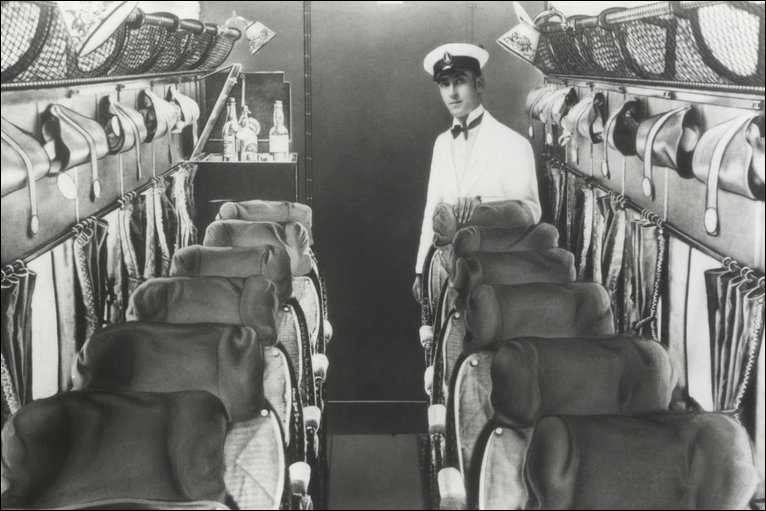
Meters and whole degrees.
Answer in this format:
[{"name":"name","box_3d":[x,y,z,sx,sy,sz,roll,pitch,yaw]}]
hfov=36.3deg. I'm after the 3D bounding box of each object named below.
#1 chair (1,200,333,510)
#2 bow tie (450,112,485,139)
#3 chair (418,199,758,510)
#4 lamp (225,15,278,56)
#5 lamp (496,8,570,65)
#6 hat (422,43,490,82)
[{"name":"chair","box_3d":[-0.898,0.624,5.459,0.887,1.777,0.569,4,-32,-4]},{"name":"bow tie","box_3d":[0.410,-0.638,5.850,0.093,0.141,0.058,0,-59,38]},{"name":"chair","box_3d":[1.079,0.574,5.742,0.953,1.777,1.659,-1,-6,-7]},{"name":"lamp","box_3d":[-0.634,-1.149,5.833,0.176,0.108,0.183,-33,-37,-35]},{"name":"lamp","box_3d":[0.709,-1.106,5.715,0.171,0.245,0.289,18,-30,-34]},{"name":"hat","box_3d":[0.358,-0.936,5.877,0.313,0.137,0.306,3,-15,-45]}]
